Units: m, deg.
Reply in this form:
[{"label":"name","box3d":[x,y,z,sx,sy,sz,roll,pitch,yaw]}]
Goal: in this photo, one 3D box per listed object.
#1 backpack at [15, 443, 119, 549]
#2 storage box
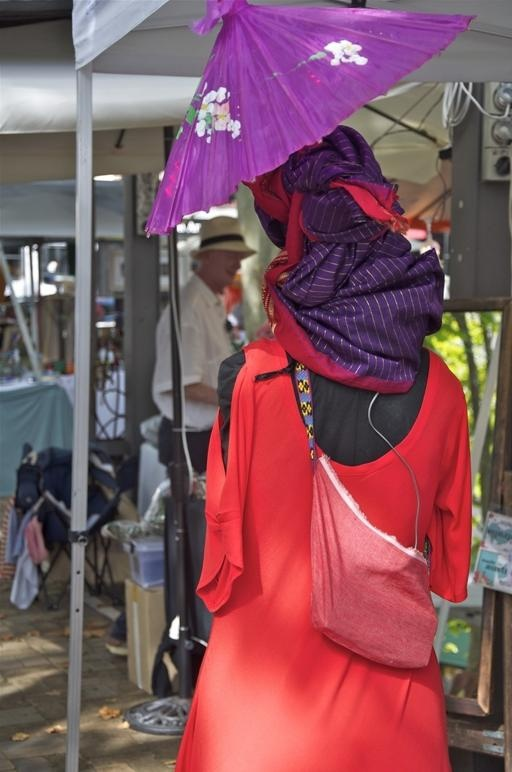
[{"label":"backpack","box3d":[-0.597,0.309,2.873,0.278,0.185,0.382,-1,8,2]},{"label":"storage box","box3d":[-0.381,0.853,3.204,0.106,0.328,0.349,-3,-5,25]}]
